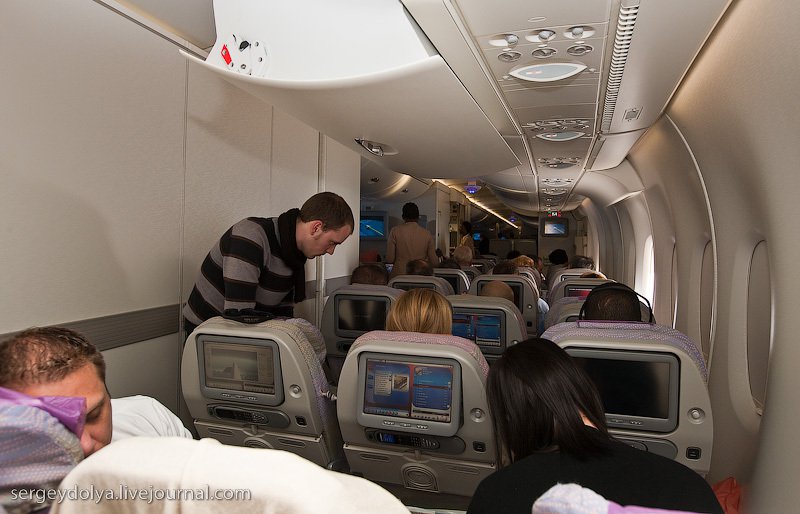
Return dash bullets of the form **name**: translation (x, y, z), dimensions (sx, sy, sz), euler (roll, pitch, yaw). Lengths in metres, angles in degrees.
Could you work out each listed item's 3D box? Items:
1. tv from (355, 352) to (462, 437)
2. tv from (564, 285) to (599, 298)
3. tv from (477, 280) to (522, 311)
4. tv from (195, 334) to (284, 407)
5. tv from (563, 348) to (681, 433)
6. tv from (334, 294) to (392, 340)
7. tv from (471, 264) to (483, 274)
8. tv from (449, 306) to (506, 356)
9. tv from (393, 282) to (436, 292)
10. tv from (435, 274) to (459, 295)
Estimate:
- **tv**: translation (0.072, 0.777, 3.042), dimensions (0.543, 0.387, 0.074), euler (1, 1, 12)
- **tv**: translation (1.908, 0.351, 5.524), dimensions (0.266, 0.173, 0.035), euler (2, 14, 7)
- **tv**: translation (1.050, 0.371, 5.590), dimensions (0.363, 0.433, 0.448), euler (6, 11, 16)
- **tv**: translation (-0.984, 0.694, 3.299), dimensions (0.506, 0.359, 0.052), euler (2, 9, 14)
- **tv**: translation (1.161, 0.670, 2.697), dimensions (0.594, 0.403, 0.078), euler (2, 6, 20)
- **tv**: translation (-0.308, 0.495, 4.597), dimensions (0.446, 0.304, 0.044), euler (3, 8, 18)
- **tv**: translation (1.517, 0.222, 10.297), dimensions (0.250, 0.182, 0.345), euler (-2, -12, 10)
- **tv**: translation (0.658, 0.589, 4.248), dimensions (0.551, 0.356, 0.071), euler (0, -4, 20)
- **tv**: translation (0.151, 0.288, 5.222), dimensions (0.586, 0.060, 0.387), euler (2, -10, 4)
- **tv**: translation (0.575, 0.318, 6.387), dimensions (0.276, 0.184, 0.147), euler (7, 12, -30)
